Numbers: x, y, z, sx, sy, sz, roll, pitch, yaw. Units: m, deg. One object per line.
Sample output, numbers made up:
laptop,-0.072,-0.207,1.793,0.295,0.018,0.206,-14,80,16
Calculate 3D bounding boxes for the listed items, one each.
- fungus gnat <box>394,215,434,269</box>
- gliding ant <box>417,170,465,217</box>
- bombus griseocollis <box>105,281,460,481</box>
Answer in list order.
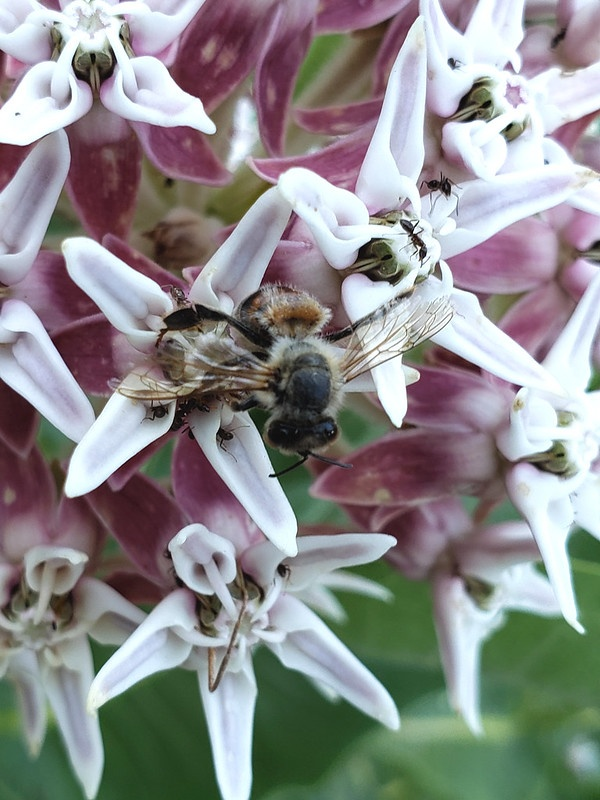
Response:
fungus gnat,0.100,-0.138,0.828,0.013,0.038,0.031,-26,12,18
gliding ant,0.134,-0.193,0.892,0.039,0.013,0.041,-8,44,-9
bombus griseocollis,-0.083,-0.021,0.863,0.297,0.218,0.085,29,88,38
